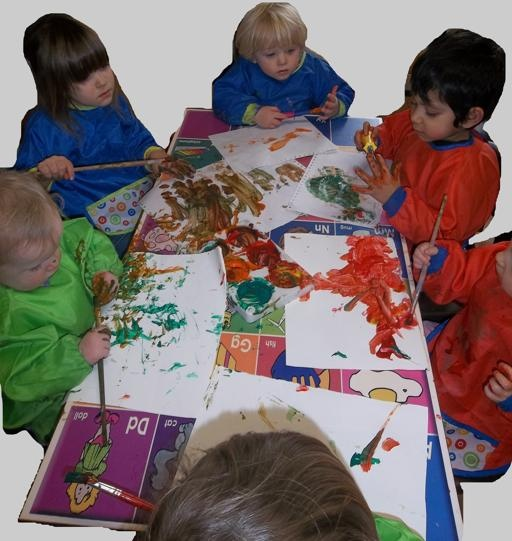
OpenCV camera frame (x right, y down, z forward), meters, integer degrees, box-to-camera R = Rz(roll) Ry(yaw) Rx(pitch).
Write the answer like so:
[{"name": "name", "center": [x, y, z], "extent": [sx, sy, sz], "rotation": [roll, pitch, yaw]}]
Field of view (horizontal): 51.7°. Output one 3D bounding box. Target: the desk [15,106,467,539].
[{"name": "desk", "center": [0.019, 0.218, 1.276], "extent": [0.743, 0.271, 1.161], "rotation": [2, 45, 0]}]
